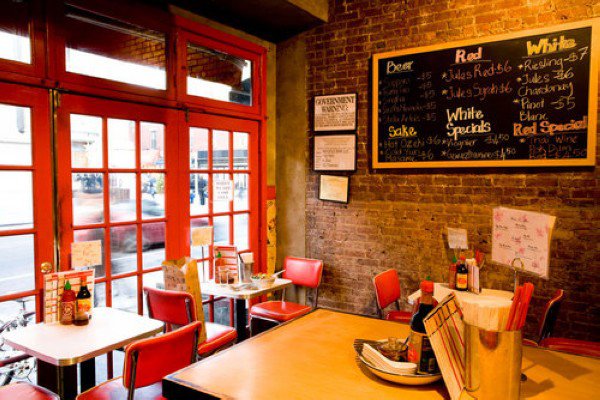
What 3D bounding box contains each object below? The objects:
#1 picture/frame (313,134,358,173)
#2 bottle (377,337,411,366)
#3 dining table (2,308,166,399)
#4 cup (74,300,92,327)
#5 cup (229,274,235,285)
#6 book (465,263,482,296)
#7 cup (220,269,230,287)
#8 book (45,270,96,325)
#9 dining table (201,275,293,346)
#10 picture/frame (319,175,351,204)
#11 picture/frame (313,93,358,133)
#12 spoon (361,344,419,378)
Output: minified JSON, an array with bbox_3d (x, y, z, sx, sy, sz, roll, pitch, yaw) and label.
[{"bbox_3d":[0.429,-0.536,4.834,0.494,0.391,0.063,0,0,24],"label":"picture/frame"},{"bbox_3d":[0.481,0.762,2.162,0.114,0.102,0.109,0,-4,-10],"label":"bottle"},{"bbox_3d":[-1.529,1.116,3.122,0.768,0.707,0.760,9,11,28],"label":"dining table"},{"bbox_3d":[-1.596,0.834,3.157,0.125,0.172,0.177,1,-9,-1],"label":"cup"},{"bbox_3d":[-0.652,0.775,4.187,0.092,0.098,0.089,1,2,0],"label":"cup"},{"bbox_3d":[1.517,0.700,3.747,0.094,0.238,0.256,0,7,14],"label":"book"},{"bbox_3d":[-0.721,0.747,4.100,0.134,0.179,0.124,0,6,0],"label":"cup"},{"bbox_3d":[-1.714,0.732,3.173,0.411,0.415,0.059,-1,-3,-40],"label":"book"},{"bbox_3d":[-0.562,0.961,4.176,0.701,0.652,0.705,7,11,36],"label":"dining table"},{"bbox_3d":[0.417,-0.130,4.865,0.344,0.274,0.045,3,1,27],"label":"picture/frame"},{"bbox_3d":[0.430,-0.985,4.824,0.497,0.353,0.049,4,7,32],"label":"picture/frame"},{"bbox_3d":[0.431,0.792,2.088,0.166,0.054,0.109,-4,22,28],"label":"spoon"}]
